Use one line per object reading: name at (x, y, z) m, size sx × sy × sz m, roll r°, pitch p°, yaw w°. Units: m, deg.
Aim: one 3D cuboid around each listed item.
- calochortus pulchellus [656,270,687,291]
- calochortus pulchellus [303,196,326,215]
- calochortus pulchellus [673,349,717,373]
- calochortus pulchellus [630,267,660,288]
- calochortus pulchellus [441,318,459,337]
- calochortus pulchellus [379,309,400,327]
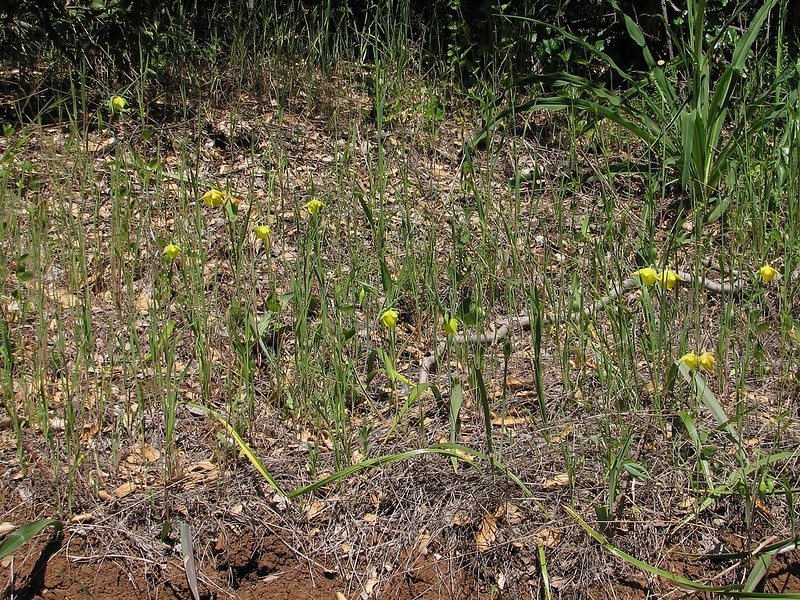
calochortus pulchellus at (1.094, -0.091, 3.086) m, size 0.071 × 0.067 × 0.088 m, roll -2°, pitch 4°, yaw 2°
calochortus pulchellus at (-0.384, -0.410, 3.424) m, size 0.075 × 0.101 × 0.080 m, roll -17°, pitch 24°, yaw -31°
calochortus pulchellus at (1.202, 0.228, 3.053) m, size 0.091 × 0.069 × 0.099 m, roll -3°, pitch 11°, yaw -32°
calochortus pulchellus at (1.001, -0.097, 3.091) m, size 0.075 × 0.094 × 0.083 m, roll 0°, pitch 3°, yaw -29°
calochortus pulchellus at (0.198, 0.105, 3.036) m, size 0.059 × 0.082 × 0.066 m, roll -2°, pitch 7°, yaw 18°
calochortus pulchellus at (-0.042, 0.073, 3.222) m, size 0.064 × 0.098 × 0.079 m, roll -13°, pitch -23°, yaw 37°
